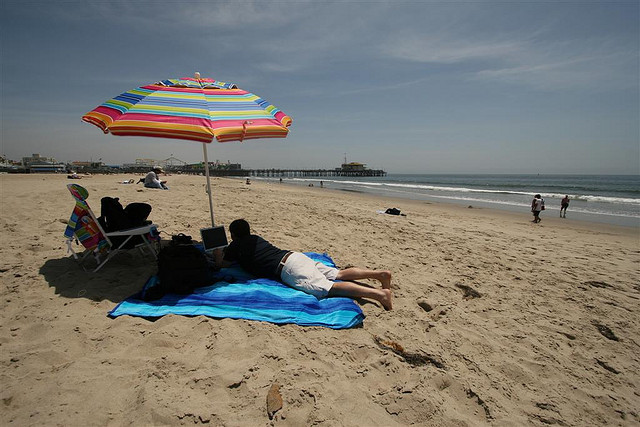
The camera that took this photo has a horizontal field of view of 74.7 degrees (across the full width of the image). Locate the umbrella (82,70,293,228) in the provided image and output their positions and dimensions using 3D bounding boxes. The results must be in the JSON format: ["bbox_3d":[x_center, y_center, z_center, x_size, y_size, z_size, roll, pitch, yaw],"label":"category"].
[{"bbox_3d":[-2.162,-0.940,7.975,3.390,2.781,3.139,-10,14,-35],"label":"umbrella"}]

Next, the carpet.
[{"bbox_3d":[-1.164,1.403,6.773,3.728,0.559,0.949,1,7,-1],"label":"carpet"}]

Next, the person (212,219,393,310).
[{"bbox_3d":[-0.341,0.983,7.329,3.526,1.026,1.273,10,1,15],"label":"person"}]

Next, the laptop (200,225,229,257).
[{"bbox_3d":[-1.786,0.437,7.262,0.615,0.517,0.409,-7,-6,-34],"label":"laptop"}]

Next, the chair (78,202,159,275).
[{"bbox_3d":[-3.660,0.328,7.626,1.444,1.199,0.897,-7,18,-44],"label":"chair"}]
